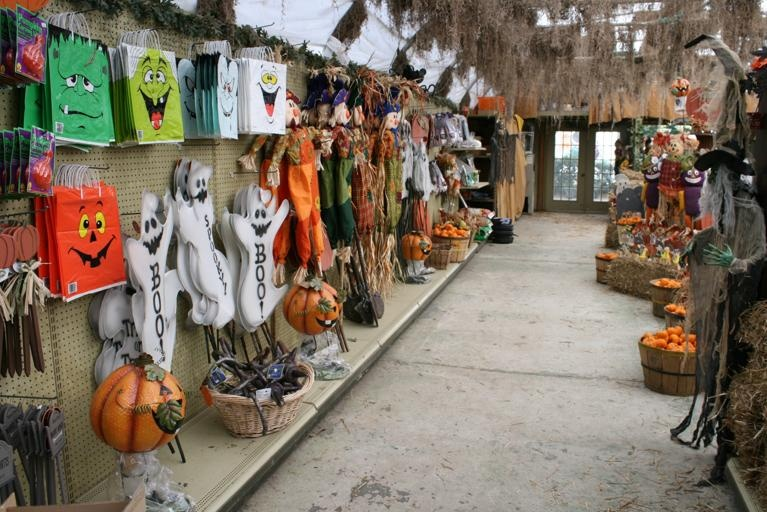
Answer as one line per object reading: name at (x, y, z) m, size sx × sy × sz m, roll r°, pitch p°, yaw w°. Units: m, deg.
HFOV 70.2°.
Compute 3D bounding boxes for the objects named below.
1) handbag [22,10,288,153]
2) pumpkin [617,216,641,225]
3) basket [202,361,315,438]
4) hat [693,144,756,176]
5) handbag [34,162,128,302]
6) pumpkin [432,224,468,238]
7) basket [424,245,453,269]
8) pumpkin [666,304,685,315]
handbag at (-1.016, -0.860, 2.947) m, size 0.325 × 0.555 × 1.478 m, roll 7°, pitch 9°, yaw 29°
pumpkin at (4.050, -0.571, 8.986) m, size 0.351 × 0.142 × 0.433 m, roll 5°, pitch 15°, yaw 22°
basket at (-0.761, 0.899, 3.414) m, size 0.407 × 0.197 × 0.397 m, roll 0°, pitch 4°, yaw -26°
hat at (2.140, -0.613, 3.435) m, size 0.309 × 0.137 × 0.338 m, roll 18°, pitch -4°, yaw -27°
handbag at (-1.480, -0.130, 2.656) m, size 0.151 × 0.622 × 0.418 m, roll 7°, pitch 15°, yaw 29°
pumpkin at (0.998, -0.377, 8.168) m, size 0.480 × 0.203 × 0.582 m, roll 6°, pitch 16°, yaw 25°
basket at (0.803, 0.004, 7.735) m, size 0.279 × 0.241 × 0.361 m, roll 3°, pitch 1°, yaw 13°
pumpkin at (2.716, 0.497, 5.079) m, size 0.101 × 0.054 × 0.108 m, roll 1°, pitch 7°, yaw 6°
